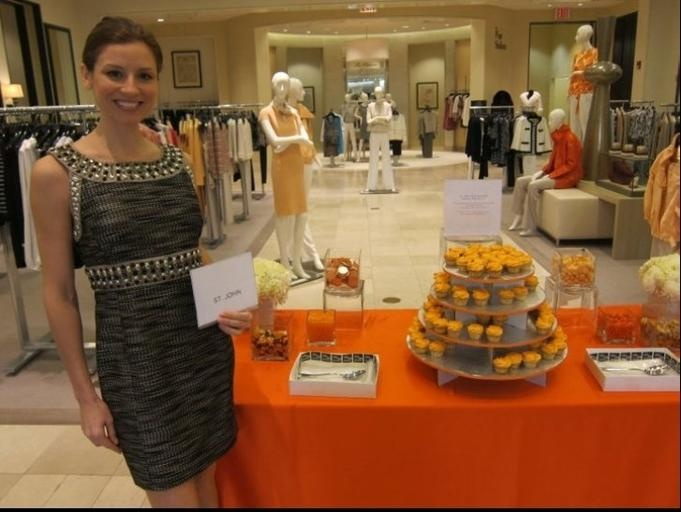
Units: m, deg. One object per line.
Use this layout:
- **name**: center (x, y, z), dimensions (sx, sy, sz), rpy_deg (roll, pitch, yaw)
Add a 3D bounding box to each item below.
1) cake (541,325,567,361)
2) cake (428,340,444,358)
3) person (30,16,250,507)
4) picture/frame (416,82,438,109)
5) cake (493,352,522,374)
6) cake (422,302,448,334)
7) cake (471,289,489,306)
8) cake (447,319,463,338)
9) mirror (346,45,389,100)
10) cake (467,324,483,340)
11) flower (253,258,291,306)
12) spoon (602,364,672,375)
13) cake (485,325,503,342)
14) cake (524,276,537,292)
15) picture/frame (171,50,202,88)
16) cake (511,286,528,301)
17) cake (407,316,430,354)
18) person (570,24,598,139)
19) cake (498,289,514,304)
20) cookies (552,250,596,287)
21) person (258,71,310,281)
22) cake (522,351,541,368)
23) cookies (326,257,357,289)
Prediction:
- **cake**: center (0.809, 0.338, 1.874), dimensions (0.105, 0.035, 0.102), rpy_deg (-32, 21, -33)
- **cake**: center (0.369, 0.362, 1.895), dimensions (0.052, 0.039, 0.055), rpy_deg (1, 2, 5)
- **person**: center (-0.560, 0.169, 1.466), dimensions (0.537, 1.676, 0.361), rpy_deg (-9, 15, -32)
- **picture/frame**: center (3.082, -5.698, 17.486), dimensions (0.815, 0.972, 0.134), rpy_deg (4, 14, 20)
- **cake**: center (0.616, 0.391, 1.816), dimensions (0.058, 0.036, 0.099), rpy_deg (3, 7, 26)
- **cake**: center (0.371, 0.240, 1.943), dimensions (0.076, 0.035, 0.104), rpy_deg (0, 18, 1)
- **cake**: center (0.524, 0.155, 1.843), dimensions (0.056, 0.040, 0.058), rpy_deg (-1, -2, 3)
- **cake**: center (0.428, 0.277, 1.854), dimensions (0.055, 0.045, 0.056), rpy_deg (0, -1, 1)
- **mirror**: center (0.980, -5.807, 15.653), dimensions (1.372, 1.565, 1.388), rpy_deg (-2, 11, -3)
- **cake**: center (0.498, 0.282, 1.821), dimensions (0.053, 0.050, 0.054), rpy_deg (-1, -8, 8)
- **flower**: center (-0.328, 0.134, 2.358), dimensions (0.211, 0.209, 0.179), rpy_deg (-1, 2, -16)
- **spoon**: center (1.154, 0.445, 1.909), dimensions (0.225, 0.034, 0.082), rpy_deg (-6, -5, 4)
- **cake**: center (0.564, 0.284, 1.803), dimensions (0.054, 0.045, 0.055), rpy_deg (-1, 2, 5)
- **cake**: center (0.770, 0.109, 1.986), dimensions (0.055, 0.041, 0.056), rpy_deg (-15, 4, 1)
- **picture/frame**: center (-4.395, -5.397, 14.072), dimensions (1.001, 1.223, 0.067), rpy_deg (0, 10, -2)
- **cake**: center (0.683, 0.146, 1.876), dimensions (0.047, 0.033, 0.048), rpy_deg (0, 0, 6)
- **cake**: center (0.313, 0.329, 1.988), dimensions (0.084, 0.072, 0.263), rpy_deg (-5, 19, 1)
- **person**: center (3.749, -2.635, 7.656), dimensions (0.334, 1.683, 0.916), rpy_deg (5, 14, 23)
- **cake**: center (0.619, 0.156, 1.851), dimensions (0.050, 0.044, 0.050), rpy_deg (0, -4, 0)
- **cookies**: center (1.133, 0.049, 2.423), dimensions (0.184, 0.183, 0.188), rpy_deg (0, 1, 12)
- **person**: center (-0.521, -0.753, 5.024), dimensions (0.479, 2.057, 0.807), rpy_deg (0, 13, 2)
- **cake**: center (0.700, 0.384, 1.812), dimensions (0.057, 0.041, 0.057), rpy_deg (0, 1, 8)
- **cookies**: center (0.004, 0.102, 2.824), dimensions (0.163, 0.160, 0.165), rpy_deg (-1, 12, 3)
